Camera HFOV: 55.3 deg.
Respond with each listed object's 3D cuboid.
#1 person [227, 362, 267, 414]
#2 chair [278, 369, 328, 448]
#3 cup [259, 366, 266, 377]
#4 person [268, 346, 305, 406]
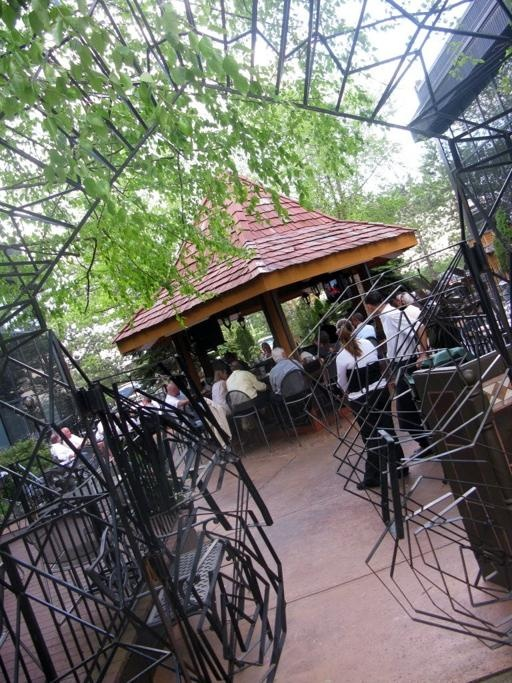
[{"bbox_3d":[-0.254,0.830,8.882,0.416,0.818,0.735,-22,3,44],"label":"person"},{"bbox_3d":[0.734,0.939,8.439,0.688,1.119,0.764,-21,11,-16],"label":"chair"},{"bbox_3d":[0.156,0.757,12.719,0.237,0.155,0.296,-4,9,3],"label":"cup"},{"bbox_3d":[0.466,0.502,8.279,0.624,0.856,0.832,-24,2,-1],"label":"person"}]
